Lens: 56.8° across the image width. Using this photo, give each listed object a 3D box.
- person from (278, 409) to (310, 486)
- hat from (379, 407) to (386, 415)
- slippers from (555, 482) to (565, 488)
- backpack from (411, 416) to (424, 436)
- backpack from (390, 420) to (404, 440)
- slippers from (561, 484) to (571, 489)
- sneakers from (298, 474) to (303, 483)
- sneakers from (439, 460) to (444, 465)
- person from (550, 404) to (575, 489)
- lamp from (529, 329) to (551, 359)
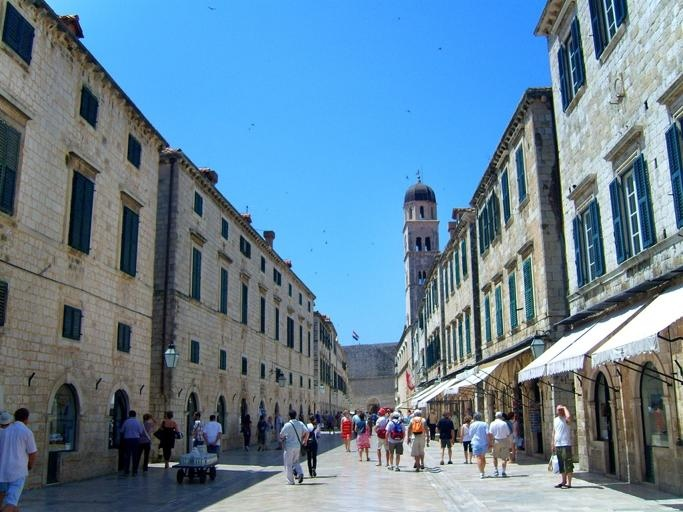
[{"bbox_3d":[-1.363,5.358,17.721,0.696,2.084,1.259,-1,-22,-4],"label":"person"},{"bbox_3d":[1.521,5.986,24.166,0.257,0.155,0.385,0,-8,2],"label":"hat"},{"bbox_3d":[5.354,5.654,15.542,0.231,0.103,0.099,-1,-18,18],"label":"slippers"},{"bbox_3d":[2.413,5.458,20.298,0.320,0.531,0.488,0,-18,11],"label":"backpack"},{"bbox_3d":[1.788,5.718,20.666,0.488,0.609,0.335,3,-22,-12],"label":"backpack"},{"bbox_3d":[5.470,5.624,15.377,0.222,0.116,0.357,-11,-26,17],"label":"slippers"},{"bbox_3d":[-1.144,6.174,17.301,0.084,0.311,0.111,4,9,-1],"label":"sneakers"},{"bbox_3d":[3.534,7.287,22.326,0.183,0.229,0.196,-1,-11,-7],"label":"sneakers"},{"bbox_3d":[5.427,4.712,15.610,0.561,1.933,0.918,-9,-22,17],"label":"person"},{"bbox_3d":[6.201,2.763,19.828,0.539,1.024,0.799,-20,-28,37],"label":"lamp"}]
